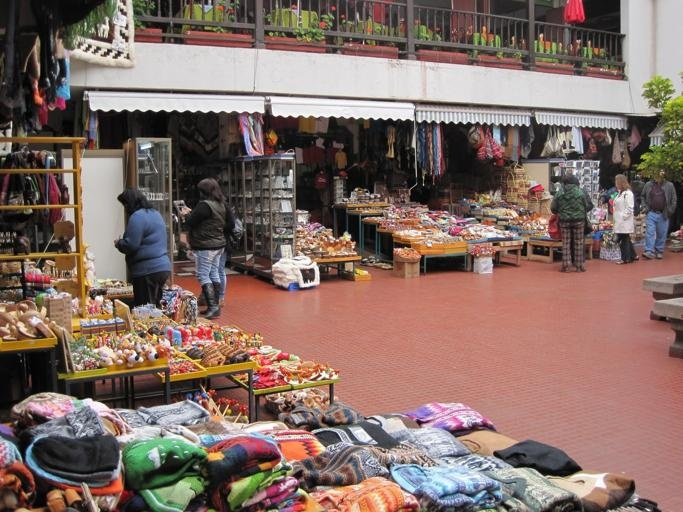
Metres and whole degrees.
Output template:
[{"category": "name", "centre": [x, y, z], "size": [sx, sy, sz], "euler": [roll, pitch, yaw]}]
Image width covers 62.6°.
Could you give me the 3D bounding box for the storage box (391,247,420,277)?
[{"category": "storage box", "centre": [1.394, 0.136, 12.306], "size": [0.633, 0.831, 0.607], "euler": [-3, 5, -37]}]

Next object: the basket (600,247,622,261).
[{"category": "basket", "centre": [6.746, -0.052, 14.066], "size": [0.335, 0.238, 0.329], "euler": [0, 3, 1]}]

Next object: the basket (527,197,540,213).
[{"category": "basket", "centre": [5.295, -1.398, 15.396], "size": [0.366, 0.353, 0.361], "euler": [-5, 7, -28]}]

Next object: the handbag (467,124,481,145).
[{"category": "handbag", "centre": [3.563, -3.193, 14.869], "size": [0.381, 0.532, 0.228], "euler": [1, 7, 12]}]

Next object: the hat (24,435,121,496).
[{"category": "hat", "centre": [-1.275, 0.995, 2.701], "size": [0.323, 0.105, 0.318], "euler": [5, 10, -11]}]

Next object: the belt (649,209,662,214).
[{"category": "belt", "centre": [7.920, -1.125, 14.114], "size": [0.256, 0.102, 0.069], "euler": [-1, 7, -1]}]

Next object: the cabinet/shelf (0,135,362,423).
[{"category": "cabinet/shelf", "centre": [-2.084, 0.178, 7.453], "size": [2.831, 3.520, 3.753], "euler": [-4, 9, -27]}]

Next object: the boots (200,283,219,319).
[{"category": "boots", "centre": [-2.075, 0.681, 8.716], "size": [0.377, 0.532, 0.274], "euler": [-6, 10, -29]}]

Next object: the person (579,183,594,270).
[{"category": "person", "centre": [5.437, -0.675, 12.603], "size": [0.263, 1.964, 0.680], "euler": [4, 9, 35]}]

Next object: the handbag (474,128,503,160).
[{"category": "handbag", "centre": [3.923, -3.024, 14.929], "size": [0.742, 0.870, 0.501], "euler": [-11, 2, -15]}]

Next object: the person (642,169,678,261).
[{"category": "person", "centre": [7.956, -0.970, 14.192], "size": [0.993, 1.990, 0.504], "euler": [-4, 8, -25]}]

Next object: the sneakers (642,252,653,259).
[{"category": "sneakers", "centre": [7.669, -0.007, 14.041], "size": [0.129, 0.109, 0.302], "euler": [-33, -12, 11]}]

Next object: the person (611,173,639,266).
[{"category": "person", "centre": [6.869, -0.894, 13.543], "size": [0.539, 2.091, 0.555], "euler": [2, 8, 22]}]

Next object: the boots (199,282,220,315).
[{"category": "boots", "centre": [-2.029, 0.699, 8.801], "size": [0.333, 0.541, 0.391], "euler": [-3, -2, -38]}]

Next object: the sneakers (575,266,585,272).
[{"category": "sneakers", "centre": [5.354, 0.279, 12.539], "size": [0.200, 0.188, 0.100], "euler": [-12, 16, -40]}]
